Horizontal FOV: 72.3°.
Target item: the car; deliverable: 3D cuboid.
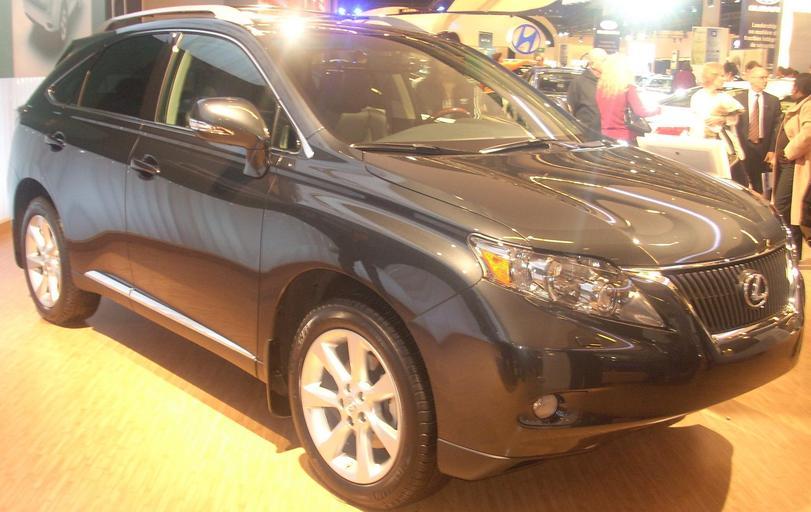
[{"bbox_3d":[-0.518,-0.163,3.863,4.940,1.930,2.736,17,23,39],"label":"car"}]
